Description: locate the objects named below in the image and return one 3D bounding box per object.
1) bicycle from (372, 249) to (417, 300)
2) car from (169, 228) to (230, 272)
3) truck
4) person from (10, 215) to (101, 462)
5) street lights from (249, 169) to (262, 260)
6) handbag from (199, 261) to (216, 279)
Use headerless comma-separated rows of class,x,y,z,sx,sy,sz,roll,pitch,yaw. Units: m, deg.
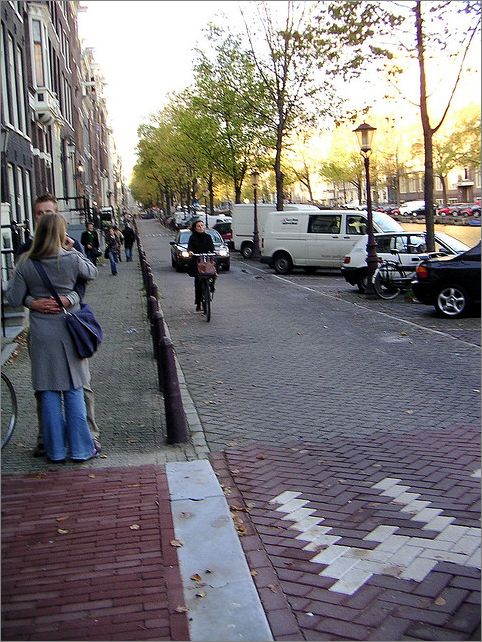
bicycle,4.901,-1.455,15.320,1.326,1.620,0.837,0,0,1
car,-2.088,-3.533,23.791,2.060,1.386,4.020,-1,5,-11
truck,2.131,-5.877,30.518,5.784,3.010,2.845,0,11,8
person,-1.514,0.175,3.904,0.730,2.041,0.487,0,0,-25
street lights,0.900,-6.374,29.402,0.911,5.095,0.860,-7,19,-16
handbag,-0.834,-1.240,11.571,0.458,0.416,0.216,0,0,-5
